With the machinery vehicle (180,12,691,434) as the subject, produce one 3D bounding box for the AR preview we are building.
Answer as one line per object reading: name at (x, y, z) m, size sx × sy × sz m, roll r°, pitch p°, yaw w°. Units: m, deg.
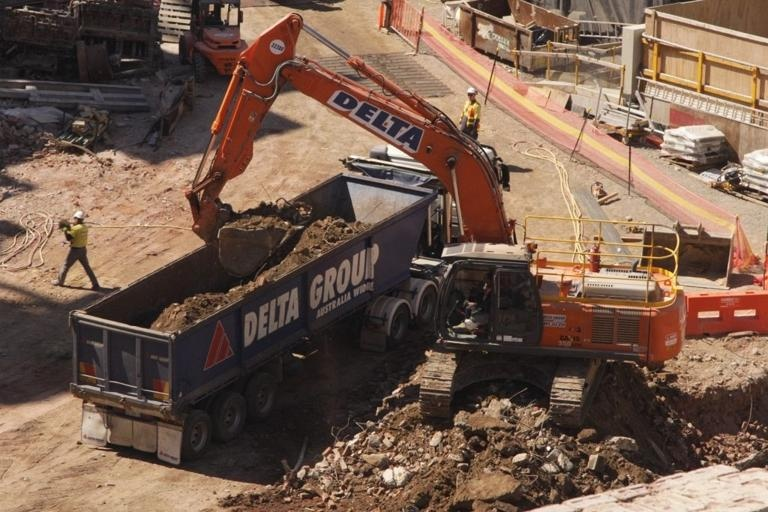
machinery vehicle at (1.115, -0.553, 21.423) m, size 10.801 × 6.644 × 3.891 m, roll 9°, pitch 16°, yaw 5°
